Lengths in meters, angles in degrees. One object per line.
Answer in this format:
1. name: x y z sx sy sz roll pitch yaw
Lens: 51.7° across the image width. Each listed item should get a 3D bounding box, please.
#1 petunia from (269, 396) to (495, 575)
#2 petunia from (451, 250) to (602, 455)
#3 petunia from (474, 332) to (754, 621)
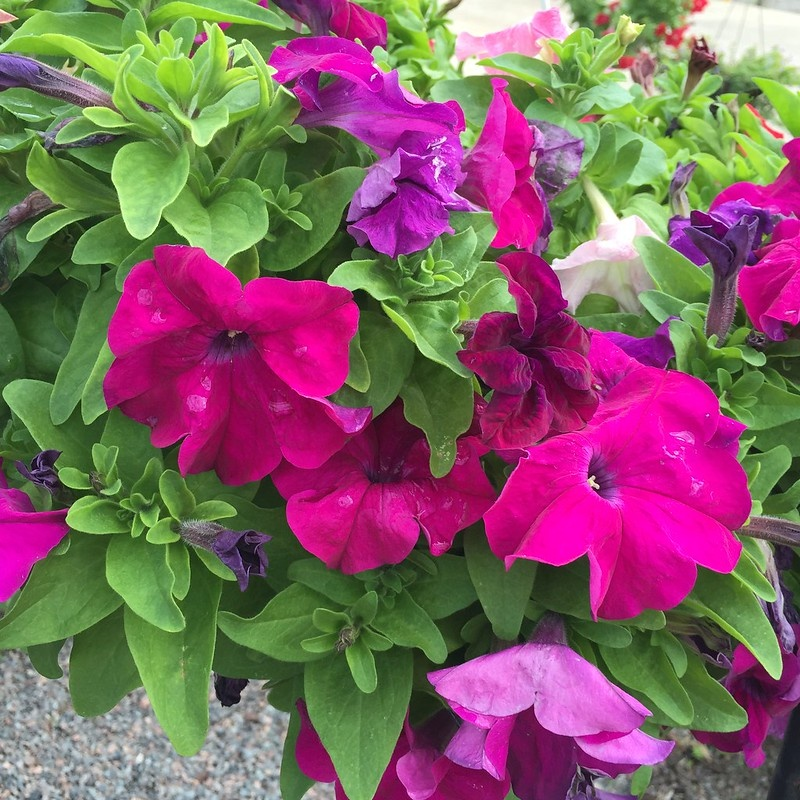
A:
1. petunia: -0.014 0.093 0.870 0.266 0.092 0.236 12 31 4
2. petunia: 0.130 -0.039 0.778 0.141 0.175 0.107 20 21 3
3. petunia: 0.209 0.094 0.883 0.292 0.099 0.253 0 66 -15
